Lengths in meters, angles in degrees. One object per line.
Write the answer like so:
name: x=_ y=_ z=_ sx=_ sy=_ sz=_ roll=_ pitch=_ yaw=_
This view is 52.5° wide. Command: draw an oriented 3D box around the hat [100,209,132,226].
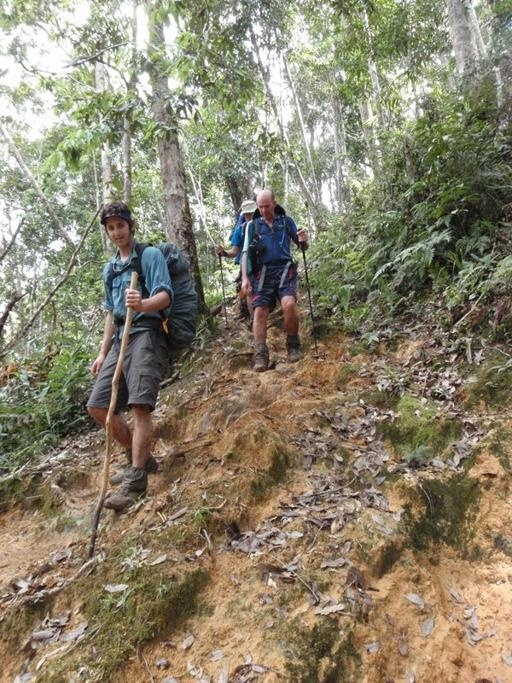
hat: x=-1.051 y=-0.936 z=3.926 sx=0.238 sy=0.110 sz=0.171 roll=-9 pitch=-1 yaw=-18

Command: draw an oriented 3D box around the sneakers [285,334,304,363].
sneakers: x=0.398 y=0.071 z=5.497 sx=0.150 sy=0.278 sz=0.236 roll=-9 pitch=-1 yaw=5

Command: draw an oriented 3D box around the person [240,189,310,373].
person: x=0.217 y=-0.662 z=5.568 sx=0.658 sy=1.857 sz=0.641 roll=-4 pitch=-3 yaw=5

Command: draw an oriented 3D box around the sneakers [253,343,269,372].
sneakers: x=0.043 y=0.161 z=5.296 sx=0.150 sy=0.294 sz=0.236 roll=-9 pitch=-1 yaw=6

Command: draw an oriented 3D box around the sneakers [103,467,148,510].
sneakers: x=-0.936 y=1.038 z=3.744 sx=0.125 sy=0.258 sz=0.361 roll=9 pitch=16 yaw=40
